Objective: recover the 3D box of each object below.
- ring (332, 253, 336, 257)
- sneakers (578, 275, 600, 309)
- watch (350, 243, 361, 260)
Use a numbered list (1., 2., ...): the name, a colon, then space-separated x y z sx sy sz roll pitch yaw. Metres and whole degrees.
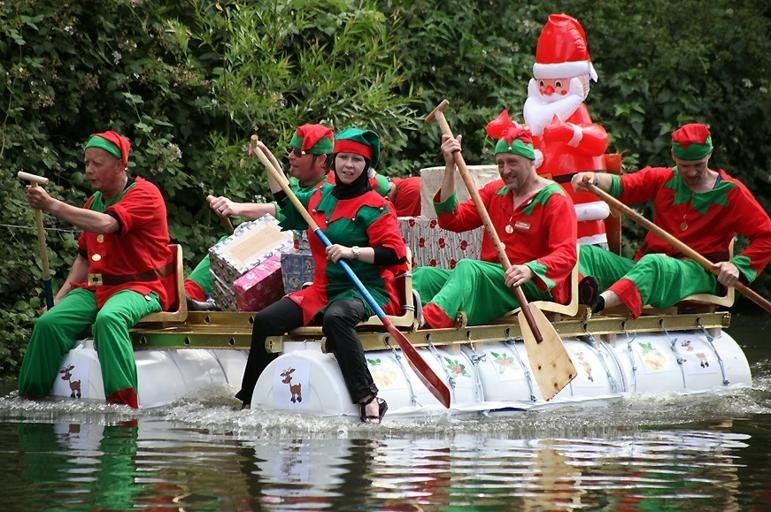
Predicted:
1. ring: -0.449 -0.023 11.018 0.030 0.026 0.029 3 5 0
2. sneakers: 2.025 0.334 12.620 0.139 0.360 0.162 9 17 37
3. watch: -0.263 -0.048 11.145 0.097 0.094 0.095 5 52 -11
